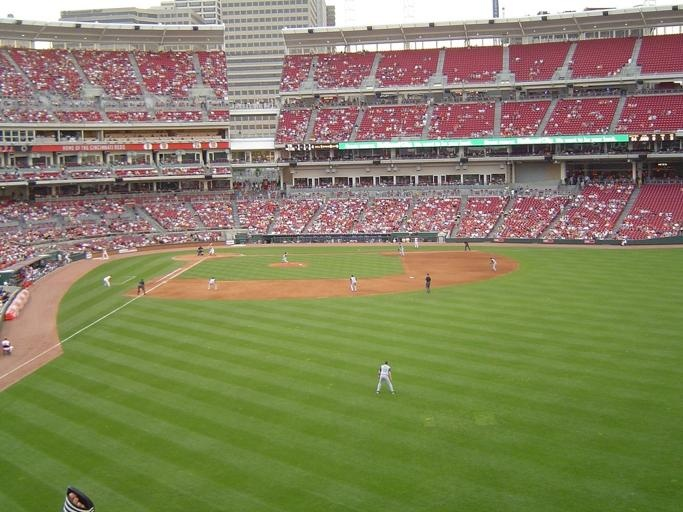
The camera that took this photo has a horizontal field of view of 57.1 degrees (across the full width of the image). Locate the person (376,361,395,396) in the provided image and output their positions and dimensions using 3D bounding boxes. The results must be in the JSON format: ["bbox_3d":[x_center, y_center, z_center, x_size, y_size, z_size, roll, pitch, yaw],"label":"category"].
[{"bbox_3d":[1.681,4.614,24.256,0.719,1.124,1.573,-3,9,3],"label":"person"}]
